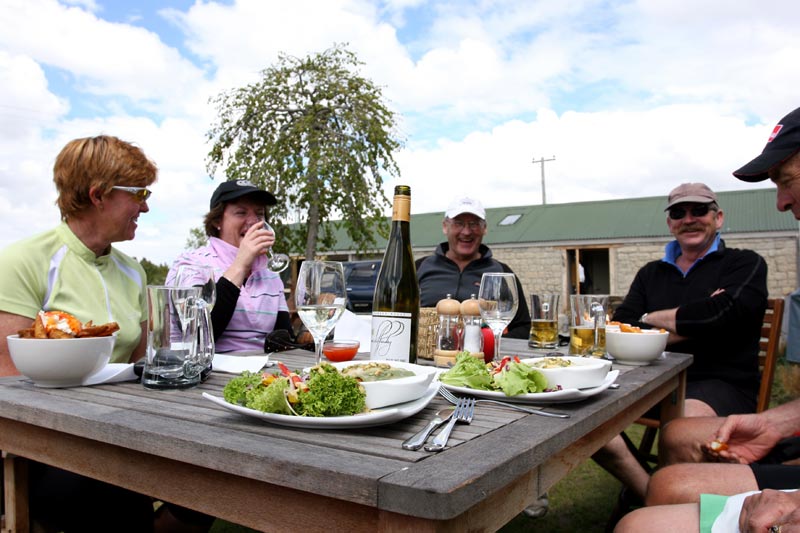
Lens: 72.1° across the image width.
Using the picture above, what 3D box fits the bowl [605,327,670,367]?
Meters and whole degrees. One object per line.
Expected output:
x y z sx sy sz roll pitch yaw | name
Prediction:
1.186 0.391 2.734 0.214 0.125 0.221 -2 -1 0 | bowl

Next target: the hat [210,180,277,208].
-1.153 -0.500 3.908 0.350 0.170 0.252 -6 -6 27 | hat

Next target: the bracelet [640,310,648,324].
1.844 0.380 4.109 0.027 0.077 0.075 17 -26 26 | bracelet

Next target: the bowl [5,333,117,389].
-1.335 0.390 2.093 0.249 0.132 0.259 0 -13 0 | bowl

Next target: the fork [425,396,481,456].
0.170 0.484 1.760 0.061 0.051 0.426 2 6 20 | fork

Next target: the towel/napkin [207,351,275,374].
-0.732 0.438 2.484 0.198 0.047 0.176 5 2 14 | towel/napkin
